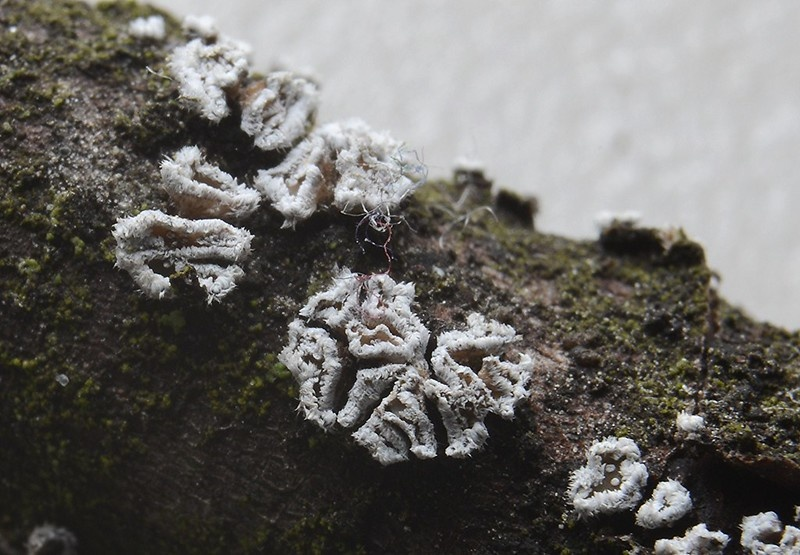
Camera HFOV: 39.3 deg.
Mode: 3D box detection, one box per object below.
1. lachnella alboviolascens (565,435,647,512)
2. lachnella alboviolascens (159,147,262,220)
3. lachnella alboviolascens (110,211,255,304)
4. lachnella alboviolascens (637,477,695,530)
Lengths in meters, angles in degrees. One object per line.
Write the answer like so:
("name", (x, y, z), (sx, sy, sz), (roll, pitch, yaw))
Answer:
("lachnella alboviolascens", (1.698, 1.659, 9.116), (0.570, 0.694, 0.205), (23, -21, 17))
("lachnella alboviolascens", (-1.580, -0.715, 9.237), (0.851, 0.437, 0.184), (33, -21, -1))
("lachnella alboviolascens", (-1.781, -0.220, 9.177), (1.078, 0.597, 0.293), (32, -21, 1))
("lachnella alboviolascens", (2.131, 1.852, 9.129), (0.318, 0.415, 0.193), (62, -6, -11))
